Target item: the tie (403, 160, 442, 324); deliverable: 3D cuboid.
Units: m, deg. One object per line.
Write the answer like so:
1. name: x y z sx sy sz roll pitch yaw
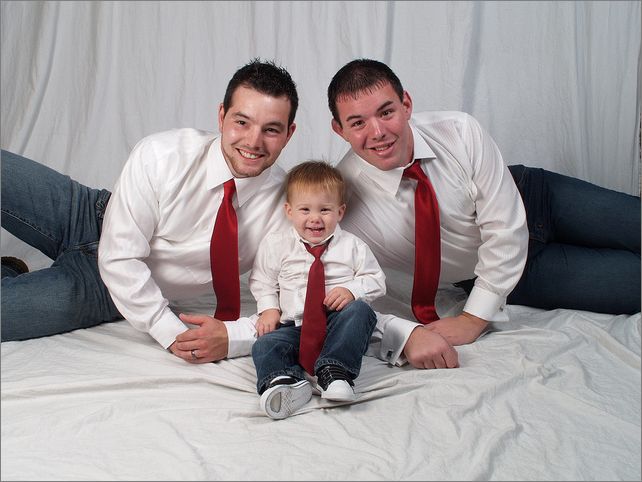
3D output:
1. tie: 0.463 0.005 2.318 0.191 0.737 0.138 3 9 9

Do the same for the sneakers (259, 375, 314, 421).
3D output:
1. sneakers: -0.125 0.552 1.806 0.095 0.094 0.207 6 10 43

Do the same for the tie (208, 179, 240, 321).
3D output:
1. tie: -0.424 0.033 2.211 0.118 0.604 0.167 -1 9 -12

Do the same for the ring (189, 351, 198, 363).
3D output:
1. ring: -0.510 0.462 2.029 0.029 0.044 0.009 0 9 -11

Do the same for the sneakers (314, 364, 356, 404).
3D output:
1. sneakers: 0.050 0.515 1.818 0.134 0.103 0.137 1 9 -1
